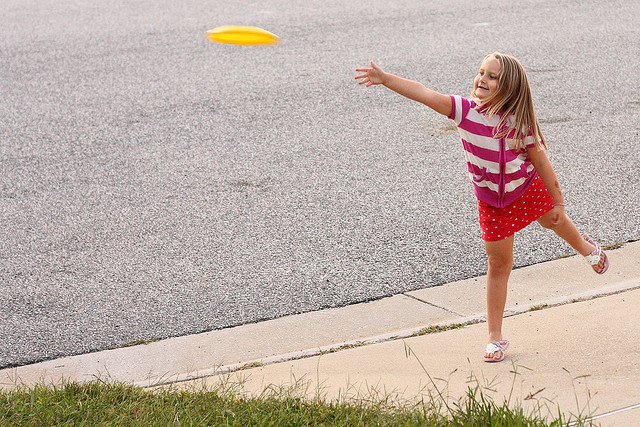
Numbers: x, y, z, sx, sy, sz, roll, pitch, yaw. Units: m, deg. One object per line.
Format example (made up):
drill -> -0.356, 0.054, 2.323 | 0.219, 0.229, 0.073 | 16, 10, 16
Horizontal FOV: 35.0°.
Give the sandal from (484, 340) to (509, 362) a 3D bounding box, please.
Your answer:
sandal -> 1.579, 1.205, 9.053 | 0.123, 0.089, 0.255 | -4, 23, 24
